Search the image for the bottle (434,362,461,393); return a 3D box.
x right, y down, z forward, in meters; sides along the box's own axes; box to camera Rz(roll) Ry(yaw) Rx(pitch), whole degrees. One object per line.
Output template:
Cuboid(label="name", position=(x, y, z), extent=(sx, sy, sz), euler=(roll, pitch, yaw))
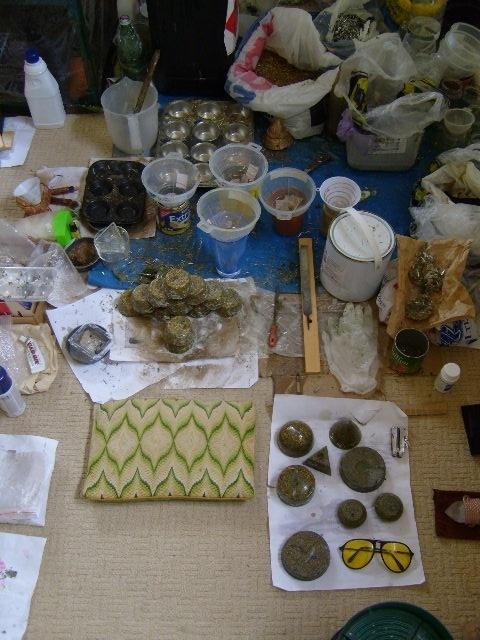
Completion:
Cuboid(label="bottle", position=(0.600, 0.173, 1.576), extent=(0.067, 0.113, 0.066), euler=(-1, 68, 2))

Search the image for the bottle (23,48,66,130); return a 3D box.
Cuboid(label="bottle", position=(-0.764, -0.879, 2.098), extent=(0.123, 0.294, 0.096), euler=(-6, 58, -7))

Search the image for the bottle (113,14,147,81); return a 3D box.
Cuboid(label="bottle", position=(-0.421, -1.076, 2.141), extent=(0.120, 0.253, 0.131), euler=(1, 48, -1))

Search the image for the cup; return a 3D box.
Cuboid(label="cup", position=(-0.408, -0.770, 2.083), extent=(0.173, 0.198, 0.225), euler=(-3, 56, -8))

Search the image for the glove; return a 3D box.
Cuboid(label="glove", position=(0.342, 0.096, 1.697), extent=(0.167, 0.063, 0.257), euler=(-1, 64, 1))
